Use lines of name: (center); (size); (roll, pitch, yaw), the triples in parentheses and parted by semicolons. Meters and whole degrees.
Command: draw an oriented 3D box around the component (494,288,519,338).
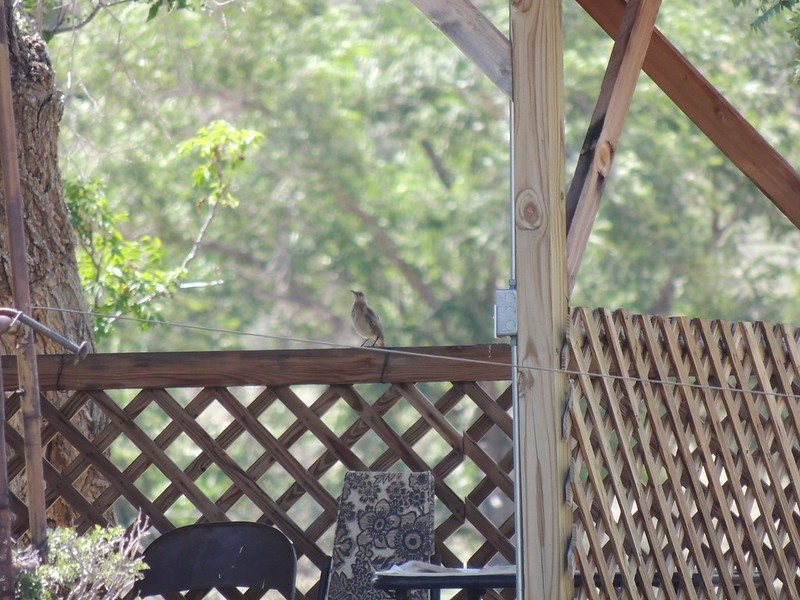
component: (0.802, 0.132, 18.628); (0.182, 0.276, 0.337); (3, 61, -6)
